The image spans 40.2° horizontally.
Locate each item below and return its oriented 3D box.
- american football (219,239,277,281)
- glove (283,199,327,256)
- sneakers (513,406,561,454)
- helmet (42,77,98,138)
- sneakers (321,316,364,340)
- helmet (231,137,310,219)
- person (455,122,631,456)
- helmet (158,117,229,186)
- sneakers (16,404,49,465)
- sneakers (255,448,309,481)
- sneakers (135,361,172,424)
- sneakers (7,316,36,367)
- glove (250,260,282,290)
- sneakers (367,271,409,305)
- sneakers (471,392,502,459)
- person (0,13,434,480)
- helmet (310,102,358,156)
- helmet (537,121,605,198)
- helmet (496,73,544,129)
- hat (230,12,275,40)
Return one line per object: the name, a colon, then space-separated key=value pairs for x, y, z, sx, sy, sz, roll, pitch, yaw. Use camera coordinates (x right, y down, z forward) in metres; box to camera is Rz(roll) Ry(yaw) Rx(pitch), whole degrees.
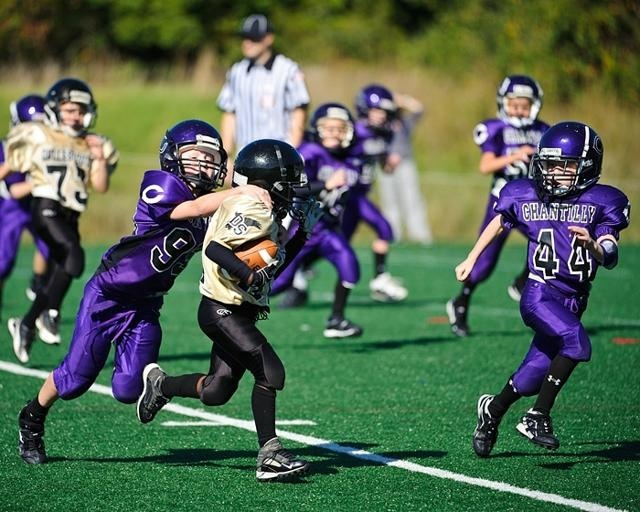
american football: x=-0.337 y=0.020 z=4.194 sx=0.242 sy=0.140 sz=0.156 roll=-10 pitch=6 yaw=-21
glove: x=-0.078 y=-0.144 z=4.535 sx=0.123 sy=0.392 sz=0.106 roll=34 pitch=-10 yaw=-17
sneakers: x=1.097 y=0.862 z=4.398 sx=0.118 sy=0.138 sz=0.325 roll=21 pitch=1 yaw=-23
helmet: x=-1.753 y=-1.066 z=6.164 sx=0.353 sy=0.403 sz=0.420 roll=-1 pitch=9 yaw=-17
sneakers: x=0.189 y=0.610 z=7.378 sx=0.337 sy=0.157 sz=0.143 roll=-2 pitch=-2 yaw=8
helmet: x=-0.264 y=-0.402 z=4.451 sx=0.401 sy=0.361 sz=0.309 roll=2 pitch=10 yaw=8
person: x=1.208 y=0.173 z=4.628 sx=0.855 sy=1.746 sz=0.724 roll=-4 pitch=9 yaw=-26
helmet: x=-0.625 y=-0.513 z=4.544 sx=0.309 sy=0.323 sz=0.401 roll=9 pitch=-2 yaw=-22
sneakers: x=-1.477 y=0.910 z=4.490 sx=0.118 sy=0.239 sz=0.345 roll=2 pitch=10 yaw=-29
sneakers: x=-0.177 y=0.972 z=4.171 sx=0.294 sy=0.168 sz=0.122 roll=-12 pitch=-17 yaw=37
sneakers: x=-0.862 y=0.694 z=4.459 sx=0.156 sy=0.331 sz=0.116 roll=17 pitch=9 yaw=34
sneakers: x=-2.083 y=0.580 z=6.224 sx=0.172 sy=0.384 sz=0.135 roll=-22 pitch=-9 yaw=28
glove: x=-0.260 y=0.089 z=4.200 sx=0.139 sy=0.059 sz=0.097 roll=-38 pitch=-12 yaw=-22
sneakers: x=0.694 y=0.328 z=8.841 sx=0.395 sy=0.258 sz=0.233 roll=0 pitch=-27 yaw=20
sneakers: x=0.896 y=0.883 z=4.643 sx=0.120 sy=0.343 sz=0.152 roll=4 pitch=-3 yaw=-14
person: x=-0.667 y=0.187 z=4.454 sx=1.411 sy=1.730 sz=0.651 roll=2 pitch=8 yaw=15
helmet: x=0.102 y=-1.088 z=7.728 sx=0.412 sy=0.505 sz=0.511 roll=2 pitch=-6 yaw=-6
helmet: x=1.396 y=-0.548 z=4.701 sx=0.433 sy=0.332 sz=0.327 roll=-20 pitch=20 yaw=-28
helmet: x=1.626 y=-1.280 z=7.162 sx=0.364 sy=0.360 sz=0.446 roll=4 pitch=19 yaw=-1
hat: x=-0.506 y=-1.830 z=7.051 sx=0.187 sy=0.136 sz=0.251 roll=12 pitch=9 yaw=39
